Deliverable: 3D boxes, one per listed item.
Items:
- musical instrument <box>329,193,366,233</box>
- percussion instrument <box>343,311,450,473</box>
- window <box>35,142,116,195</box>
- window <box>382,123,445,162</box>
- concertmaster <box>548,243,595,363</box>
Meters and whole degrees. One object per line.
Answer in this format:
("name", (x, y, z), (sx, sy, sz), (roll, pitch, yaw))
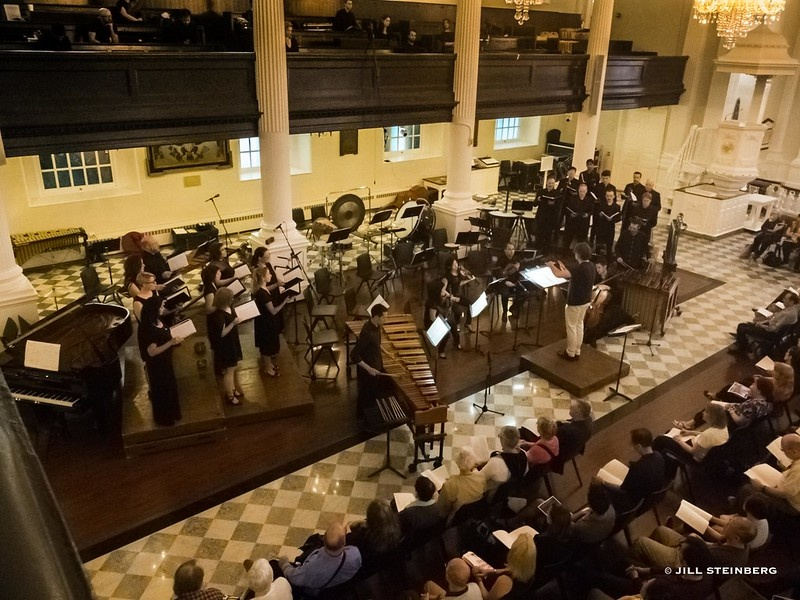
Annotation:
("musical instrument", (-1.228, -2.020, 13.079), (0.962, 0.992, 0.222), (-31, 38, -27))
("percussion instrument", (-0.059, 1.070, 7.697), (1.292, 0.795, 2.043), (-14, 51, -22))
("window", (-7.137, -2.810, 12.128), (1.222, 1.056, 0.131), (-17, 25, -37))
("window", (0.118, -5.152, 17.726), (2.316, 1.478, 0.713), (-13, 27, -21))
("concertmaster", (2.825, 0.053, 9.411), (0.706, 1.942, 0.700), (0, 7, -28))
